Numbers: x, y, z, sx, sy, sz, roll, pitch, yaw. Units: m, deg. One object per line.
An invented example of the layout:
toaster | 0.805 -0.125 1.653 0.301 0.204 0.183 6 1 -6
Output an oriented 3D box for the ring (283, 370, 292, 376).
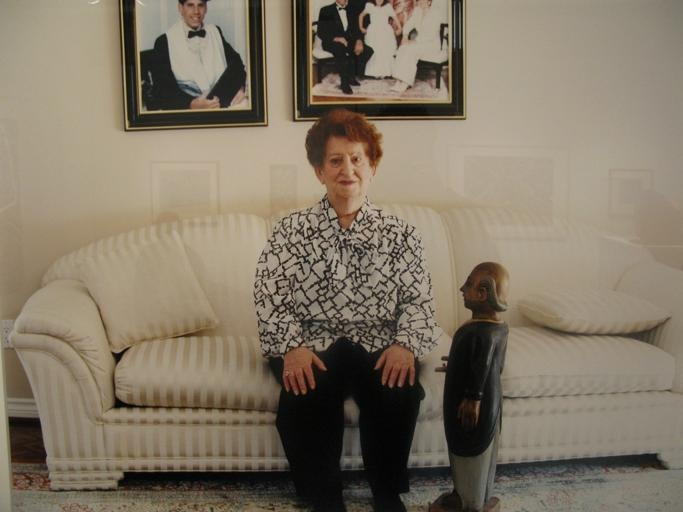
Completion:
ring | -0.178 0.387 2.201 0.018 0.025 0.016 -3 12 4
